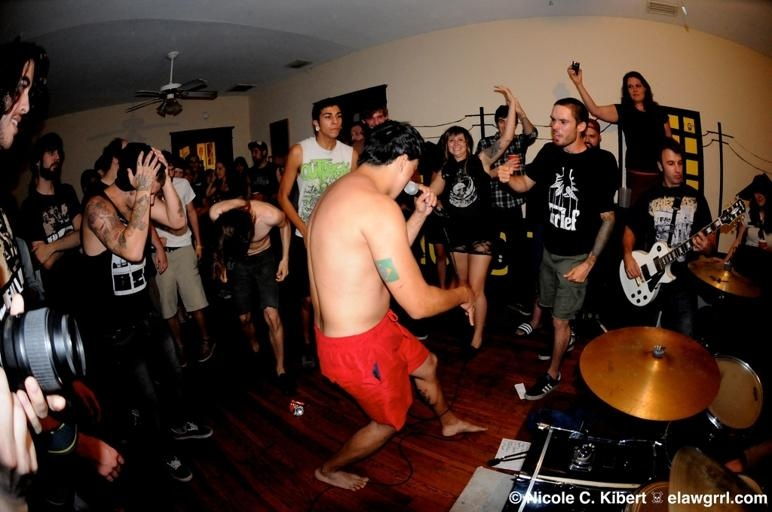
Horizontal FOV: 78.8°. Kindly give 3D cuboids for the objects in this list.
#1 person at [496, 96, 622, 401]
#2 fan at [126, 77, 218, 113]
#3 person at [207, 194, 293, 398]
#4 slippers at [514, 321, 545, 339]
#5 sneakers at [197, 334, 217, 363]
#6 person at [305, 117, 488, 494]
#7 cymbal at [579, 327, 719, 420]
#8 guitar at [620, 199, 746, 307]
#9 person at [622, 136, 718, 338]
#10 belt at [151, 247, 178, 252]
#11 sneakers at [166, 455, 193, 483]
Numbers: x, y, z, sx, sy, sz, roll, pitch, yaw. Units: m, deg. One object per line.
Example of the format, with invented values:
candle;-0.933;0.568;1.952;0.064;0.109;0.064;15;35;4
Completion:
person;1.521;-0.070;3.984;0.648;2.449;0.431;-2;8;1
fan;-3.566;-2.707;7.740;1.257;0.537;1.112;-18;12;-30
person;-1.182;0.329;4.312;0.635;1.738;0.527;-3;8;-3
slippers;1.464;0.741;4.884;0.270;0.075;0.121;-29;29;-32
sneakers;-1.890;0.945;4.889;0.151;0.265;0.256;6;5;-10
person;-0.009;0.401;3.117;1.013;2.555;0.562;-5;9;-15
cymbal;1.765;0.679;3.075;0.767;0.181;0.835;-5;31;26
guitar;2.584;-0.024;4.105;0.104;0.357;0.888;4;-32;-34
person;2.510;-0.155;4.208;0.686;1.749;0.387;2;10;29
belt;-2.138;-0.079;4.608;0.140;0.040;0.134;4;7;42
sneakers;-1.525;1.585;3.505;0.209;0.106;0.119;32;40;32
